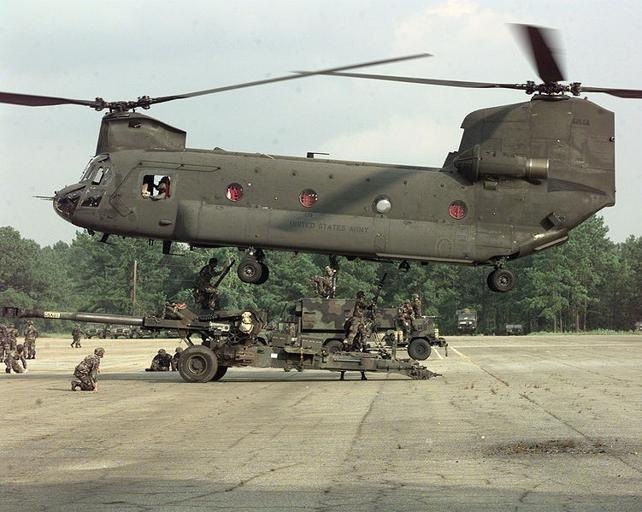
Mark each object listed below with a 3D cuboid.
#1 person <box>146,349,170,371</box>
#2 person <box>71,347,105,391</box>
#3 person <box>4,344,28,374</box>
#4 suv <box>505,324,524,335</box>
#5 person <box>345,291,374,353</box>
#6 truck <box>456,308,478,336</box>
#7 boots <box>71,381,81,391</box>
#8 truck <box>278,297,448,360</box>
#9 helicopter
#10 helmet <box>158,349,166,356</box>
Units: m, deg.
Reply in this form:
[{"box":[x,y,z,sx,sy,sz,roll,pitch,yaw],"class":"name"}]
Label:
[{"box":[-5.569,3.600,30.623,0.808,0.740,0.922,-1,-6,-1],"class":"person"},{"box":[-6.261,3.017,23.667,0.748,1.103,2.366,1,-6,-15],"class":"person"},{"box":[-10.556,3.570,30.775,0.732,0.962,2.964,1,-6,-18],"class":"person"},{"box":[21.335,8.180,98.513,2.141,1.269,2.988,1,-7,1],"class":"suv"},{"box":[1.056,1.896,25.844,0.804,1.719,0.731,-1,-7,3],"class":"person"},{"box":[14.999,6.823,92.572,2.286,1.842,3.556,0,-2,3],"class":"truck"},{"box":[-6.424,3.407,23.278,0.236,0.240,0.400,1,-6,-16],"class":"boots"},{"box":[1.723,2.709,31.489,5.896,1.742,2.597,2,0,-15],"class":"truck"},{"box":[1.068,-2.708,25.909,13.717,3.536,7.146,2,-5,-2],"class":"helicopter"},{"box":[-5.547,3.380,30.974,0.274,0.232,0.321,3,-25,-14],"class":"helmet"}]
